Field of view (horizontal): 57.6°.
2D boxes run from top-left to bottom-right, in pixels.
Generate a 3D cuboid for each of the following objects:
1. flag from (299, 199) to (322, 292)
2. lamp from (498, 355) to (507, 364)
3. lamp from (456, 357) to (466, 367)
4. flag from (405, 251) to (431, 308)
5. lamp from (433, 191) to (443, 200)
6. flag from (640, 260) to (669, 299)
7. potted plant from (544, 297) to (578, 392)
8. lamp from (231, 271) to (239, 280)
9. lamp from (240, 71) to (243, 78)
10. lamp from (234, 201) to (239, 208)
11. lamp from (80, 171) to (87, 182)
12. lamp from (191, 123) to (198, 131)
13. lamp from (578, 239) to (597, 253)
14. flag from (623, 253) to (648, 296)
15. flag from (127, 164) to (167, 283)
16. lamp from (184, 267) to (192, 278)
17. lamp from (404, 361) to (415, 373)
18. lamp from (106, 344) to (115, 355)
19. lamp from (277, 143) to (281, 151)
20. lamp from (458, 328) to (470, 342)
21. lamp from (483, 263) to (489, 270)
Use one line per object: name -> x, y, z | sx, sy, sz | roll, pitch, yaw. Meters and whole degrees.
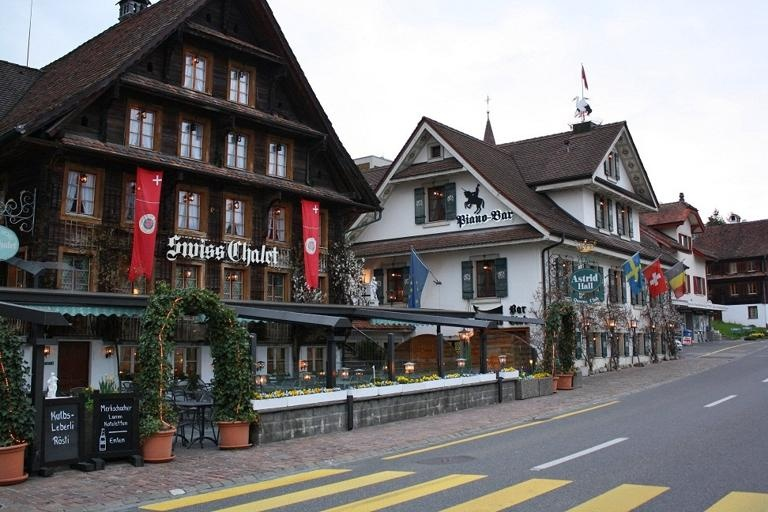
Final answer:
flag -> -3.445, -0.573, 32.499 | 0.793, 3.937, 0.957 | 0, -10, -12
lamp -> 5.037, 4.384, 29.592 | 0.307, 0.351, 0.325 | -4, -7, 26
lamp -> 3.032, 4.201, 27.436 | 0.223, 0.361, 0.640 | -7, -12, 26
flag -> 1.870, 1.232, 38.362 | 0.922, 3.091, 1.737 | -1, -10, -2
lamp -> 3.279, -3.666, 42.047 | 0.458, 0.367, 0.354 | -1, 1, -43
flag -> 17.626, 1.556, 45.619 | 1.804, 2.267, 0.236 | -34, 11, -4
potted plant -> 8.105, 4.057, 31.928 | 1.481, 4.018, 1.118 | -1, -10, -5
lamp -> -6.655, 0.907, 31.088 | 0.228, 0.486, 0.459 | -10, -8, 42
lamp -> -6.580, -8.374, 32.252 | 0.264, 0.258, 0.063 | 8, -14, -43
lamp -> -6.672, -2.305, 31.529 | 0.195, 0.293, 0.224 | -8, -2, -16
lamp -> -11.815, -3.039, 27.367 | 0.202, 0.280, 0.260 | 1, -10, -26
lamp -> -8.305, -5.632, 30.552 | 0.216, 0.450, 0.226 | 2, 3, 28
lamp -> 11.207, -0.531, 38.415 | 0.826, 0.450, 0.866 | -1, -1, -11
flag -> 15.025, 0.966, 41.983 | 0.863, 2.519, 1.857 | -7, -11, 26
flag -> -9.332, -1.298, 27.249 | 0.996, 4.266, 0.489 | 3, -11, -25
lamp -> -8.264, 0.696, 29.439 | 0.239, 0.490, 0.350 | -5, -7, 26
lamp -> 0.945, 4.074, 25.528 | 0.373, 0.373, 0.320 | 1, -13, -11
lamp -> -10.584, 3.624, 26.865 | 0.298, 0.500, 0.348 | -6, -2, 11
lamp -> -5.041, -5.200, 33.485 | 0.211, 0.345, 0.066 | 4, -11, -29
lamp -> 3.805, 3.663, 32.559 | 0.578, 0.782, 0.607 | -9, -12, 35
lamp -> 5.866, 0.584, 39.792 | 0.304, 0.316, 0.317 | 0, 0, 37
